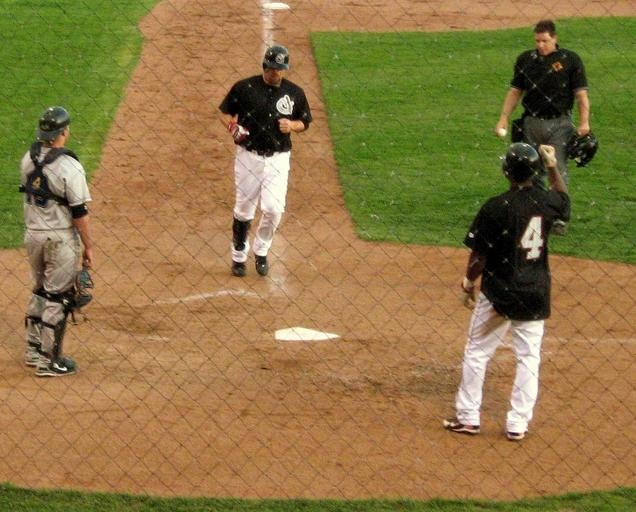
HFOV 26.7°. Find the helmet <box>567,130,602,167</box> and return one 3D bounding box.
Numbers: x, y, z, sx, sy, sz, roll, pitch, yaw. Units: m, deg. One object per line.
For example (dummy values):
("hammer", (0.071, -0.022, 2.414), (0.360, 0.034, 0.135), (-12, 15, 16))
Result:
("helmet", (2.739, -1.117, 14.062), (0.328, 0.298, 0.387), (-1, 1, 2))

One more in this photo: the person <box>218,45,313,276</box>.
("person", (-0.539, -0.840, 13.938), (0.882, 2.189, 0.454), (-3, 20, -3))

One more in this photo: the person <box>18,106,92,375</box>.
("person", (-2.479, -0.113, 12.517), (0.782, 2.406, 0.779), (-10, 22, -21))

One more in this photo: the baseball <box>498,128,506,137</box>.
("baseball", (1.876, -1.266, 13.831), (0.073, 0.037, 0.092), (10, 27, 12))

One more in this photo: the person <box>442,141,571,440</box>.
("person", (1.690, 0.341, 12.077), (0.884, 2.605, 0.960), (6, 21, 20))

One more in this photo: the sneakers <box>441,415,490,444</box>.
("sneakers", (1.317, 1.590, 12.167), (0.375, 0.148, 0.135), (12, 7, 8))

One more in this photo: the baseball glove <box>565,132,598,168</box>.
("baseball glove", (2.735, -1.117, 14.059), (0.325, 0.285, 0.377), (-2, -3, 8))

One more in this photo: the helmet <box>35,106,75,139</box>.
("helmet", (-2.461, -1.208, 12.521), (0.260, 0.202, 0.332), (26, 58, 4))

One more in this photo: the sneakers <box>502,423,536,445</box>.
("sneakers", (1.797, 1.631, 12.148), (0.236, 0.212, 0.508), (0, 1, 8))

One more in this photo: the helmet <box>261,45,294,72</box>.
("helmet", (-0.433, -1.996, 13.551), (0.245, 0.247, 0.242), (-3, 19, -3))

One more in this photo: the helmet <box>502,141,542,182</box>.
("helmet", (1.836, -0.851, 12.074), (0.318, 0.360, 0.377), (3, 22, 18))

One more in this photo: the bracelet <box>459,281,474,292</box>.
("bracelet", (1.328, 0.288, 12.195), (0.115, 0.076, 0.104), (5, -22, -29))
